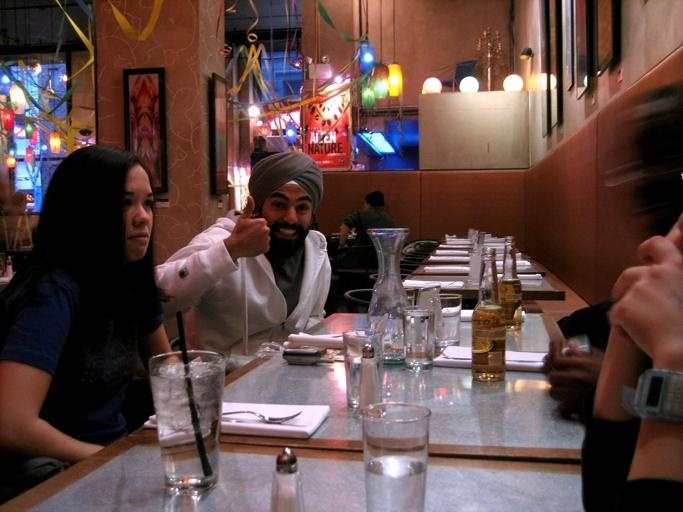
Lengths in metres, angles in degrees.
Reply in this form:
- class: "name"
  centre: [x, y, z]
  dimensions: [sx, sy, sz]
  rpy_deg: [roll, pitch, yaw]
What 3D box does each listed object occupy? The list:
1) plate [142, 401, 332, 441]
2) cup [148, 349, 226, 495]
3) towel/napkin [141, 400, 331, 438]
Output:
- class: "plate"
  centre: [-0.194, 0.319, 1.085]
  dimensions: [0.208, 0.030, 0.130]
  rpy_deg: [0, -1, 9]
- class: "cup"
  centre: [-0.259, 0.288, 0.958]
  dimensions: [0.121, 0.209, 0.073]
  rpy_deg: [-2, 7, -13]
- class: "towel/napkin"
  centre: [-0.196, 0.316, 1.089]
  dimensions: [0.207, 0.031, 0.138]
  rpy_deg: [1, -2, 7]
